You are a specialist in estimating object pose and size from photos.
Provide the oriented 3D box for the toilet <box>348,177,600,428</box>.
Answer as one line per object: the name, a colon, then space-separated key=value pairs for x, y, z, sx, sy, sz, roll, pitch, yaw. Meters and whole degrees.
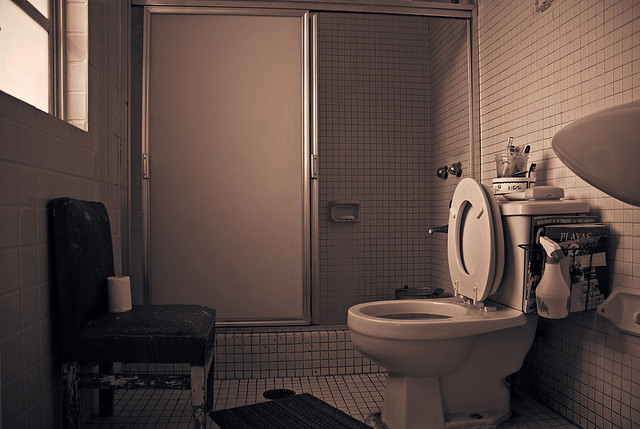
toilet: x=0.738 y=0.451 z=2.609 sx=1.179 sy=1.273 sz=0.401 roll=-2 pitch=3 yaw=0

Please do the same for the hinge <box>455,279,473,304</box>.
hinge: x=0.774 y=0.418 z=2.707 sx=0.049 sy=0.121 sz=0.155 roll=-2 pitch=3 yaw=-11

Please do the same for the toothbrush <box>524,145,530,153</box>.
toothbrush: x=1.127 y=-0.355 z=2.697 sx=0.021 sy=0.040 sz=0.010 roll=11 pitch=6 yaw=6

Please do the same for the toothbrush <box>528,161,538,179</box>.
toothbrush: x=1.158 y=-0.248 z=2.711 sx=0.045 sy=0.106 sz=0.059 roll=5 pitch=0 yaw=21

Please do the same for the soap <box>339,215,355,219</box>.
soap: x=0.201 y=0.020 z=3.733 sx=0.116 sy=0.028 sz=0.042 roll=-2 pitch=3 yaw=-4

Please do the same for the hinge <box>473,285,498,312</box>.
hinge: x=0.858 y=0.432 z=2.589 sx=0.121 sy=0.136 sz=0.093 roll=-1 pitch=3 yaw=16

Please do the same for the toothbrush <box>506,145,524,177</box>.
toothbrush: x=1.050 y=-0.285 z=2.684 sx=0.030 sy=0.174 sz=0.023 roll=22 pitch=5 yaw=-25

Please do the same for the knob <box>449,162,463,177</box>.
knob: x=0.925 y=-0.316 z=3.413 sx=0.026 sy=0.080 sz=0.080 roll=1 pitch=-31 yaw=-26

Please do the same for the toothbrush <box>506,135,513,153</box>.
toothbrush: x=1.073 y=-0.401 z=2.819 sx=0.037 sy=0.139 sz=0.028 roll=-1 pitch=-14 yaw=32

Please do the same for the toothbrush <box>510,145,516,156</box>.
toothbrush: x=1.036 y=-0.338 z=2.668 sx=0.030 sy=0.041 sz=0.013 roll=1 pitch=-4 yaw=5

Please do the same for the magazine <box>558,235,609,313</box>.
magazine: x=1.257 y=0.282 z=2.398 sx=0.370 sy=0.491 sz=0.028 roll=-2 pitch=0 yaw=-13

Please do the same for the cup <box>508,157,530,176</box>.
cup: x=1.086 y=-0.260 z=2.705 sx=0.095 sy=0.099 sz=0.099 roll=1 pitch=-3 yaw=0

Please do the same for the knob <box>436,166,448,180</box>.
knob: x=0.884 y=-0.309 z=3.610 sx=0.019 sy=0.072 sz=0.072 roll=-5 pitch=-17 yaw=-17

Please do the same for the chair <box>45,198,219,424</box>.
chair: x=-0.890 y=0.485 z=2.441 sx=0.702 sy=1.158 sz=0.400 roll=-2 pitch=3 yaw=-4
